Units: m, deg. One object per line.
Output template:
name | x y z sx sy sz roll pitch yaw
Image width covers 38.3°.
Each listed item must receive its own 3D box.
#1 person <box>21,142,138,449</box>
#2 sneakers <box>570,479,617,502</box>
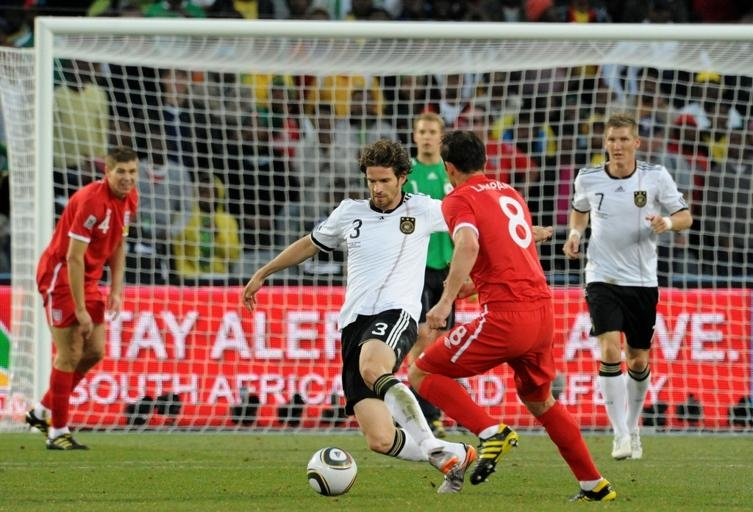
person | -2.757 0.416 10.356 1.266 2.861 0.663 -3 -2 31
sneakers | 1.766 1.898 8.743 0.396 0.167 0.143 0 -1 3
